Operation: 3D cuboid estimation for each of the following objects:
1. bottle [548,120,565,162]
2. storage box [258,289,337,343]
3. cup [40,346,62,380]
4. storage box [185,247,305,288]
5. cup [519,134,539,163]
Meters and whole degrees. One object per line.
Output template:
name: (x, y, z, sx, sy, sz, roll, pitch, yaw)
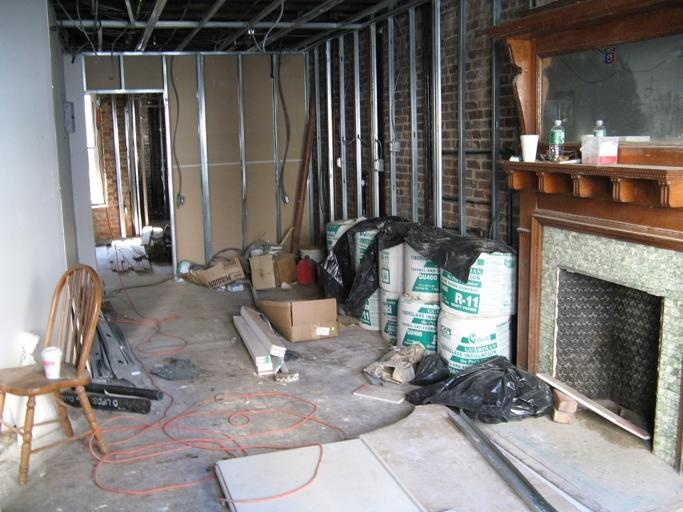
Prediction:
bottle: (1.440, -0.774, 3.408, 0.099, 0.280, 0.317, 0, 11, 23)
storage box: (-0.511, 0.578, 5.234, 0.468, 0.341, 0.840, -4, 6, -28)
cup: (-1.681, 0.620, 2.969, 0.128, 0.154, 0.123, -4, -6, 0)
storage box: (-1.255, 0.202, 6.848, 1.050, 0.344, 0.665, -3, 6, -9)
cup: (1.297, -0.741, 3.522, 0.099, 0.181, 0.130, -1, 11, 18)
